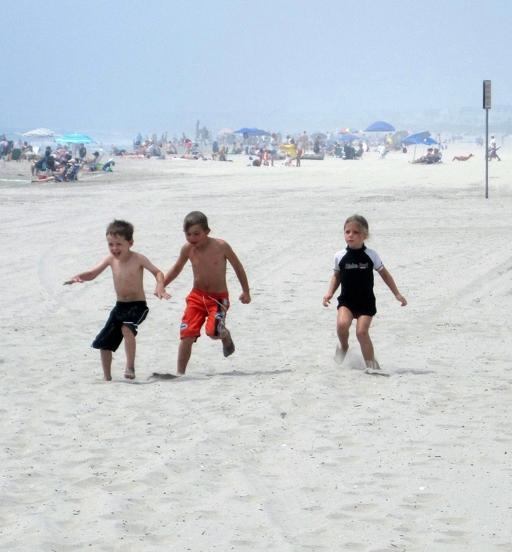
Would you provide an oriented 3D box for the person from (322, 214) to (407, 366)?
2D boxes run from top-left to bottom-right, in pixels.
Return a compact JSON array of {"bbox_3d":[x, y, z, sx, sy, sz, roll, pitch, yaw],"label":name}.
[{"bbox_3d":[0.829,0.116,5.793,0.593,1.223,0.856,1,10,6],"label":"person"}]

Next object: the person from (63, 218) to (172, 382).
[{"bbox_3d":[-1.005,0.183,5.483,0.765,1.226,0.564,0,10,1],"label":"person"}]

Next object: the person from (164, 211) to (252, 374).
[{"bbox_3d":[-0.375,0.137,5.555,0.634,1.259,0.368,-1,10,-5],"label":"person"}]
